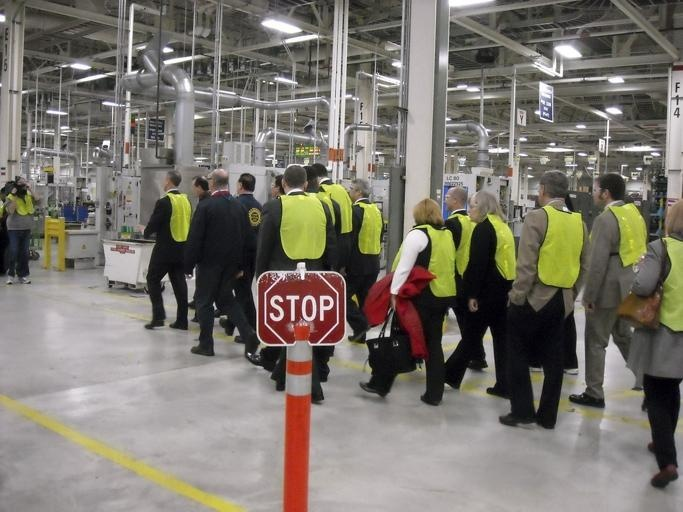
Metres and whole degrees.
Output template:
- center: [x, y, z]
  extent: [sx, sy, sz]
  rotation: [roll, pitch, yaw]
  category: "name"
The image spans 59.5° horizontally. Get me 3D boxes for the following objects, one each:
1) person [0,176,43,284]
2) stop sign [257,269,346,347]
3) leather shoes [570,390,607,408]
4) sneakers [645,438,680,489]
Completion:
- center: [-6.118, -0.468, 11.445]
  extent: [0.542, 2.046, 1.240]
  rotation: [-2, 8, -29]
  category: "person"
- center: [-0.250, 0.319, 3.668]
  extent: [0.437, 0.397, 0.047]
  rotation: [0, -5, -13]
  category: "stop sign"
- center: [2.453, 1.444, 5.995]
  extent: [0.348, 0.164, 0.143]
  rotation: [6, -1, 25]
  category: "leather shoes"
- center: [2.461, 1.600, 4.567]
  extent: [0.167, 0.274, 0.214]
  rotation: [6, 8, 29]
  category: "sneakers"
